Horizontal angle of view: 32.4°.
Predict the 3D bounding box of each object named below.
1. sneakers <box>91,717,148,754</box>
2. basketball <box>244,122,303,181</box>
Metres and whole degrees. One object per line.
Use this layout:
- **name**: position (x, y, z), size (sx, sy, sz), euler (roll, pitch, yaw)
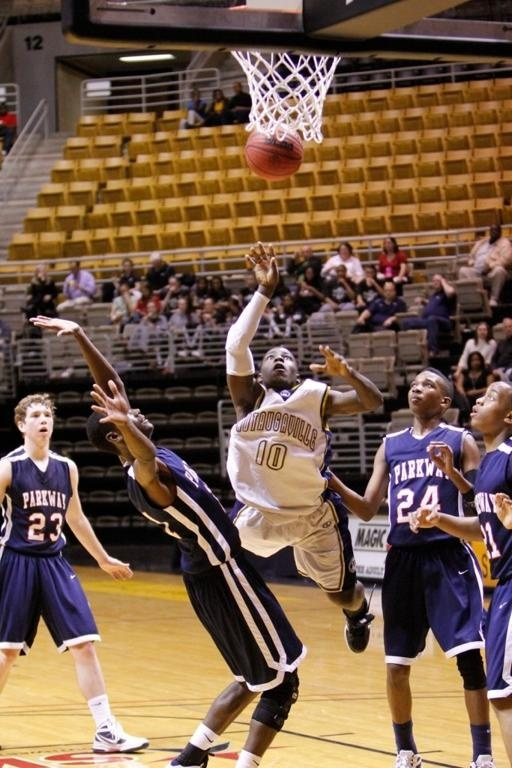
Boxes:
- **sneakers**: position (-0.593, 1.518, 3.813), size (0.302, 0.141, 0.105), euler (1, -3, -2)
- **basketball**: position (0.135, -1.355, 5.373), size (0.328, 0.314, 0.286), euler (-14, -22, -4)
